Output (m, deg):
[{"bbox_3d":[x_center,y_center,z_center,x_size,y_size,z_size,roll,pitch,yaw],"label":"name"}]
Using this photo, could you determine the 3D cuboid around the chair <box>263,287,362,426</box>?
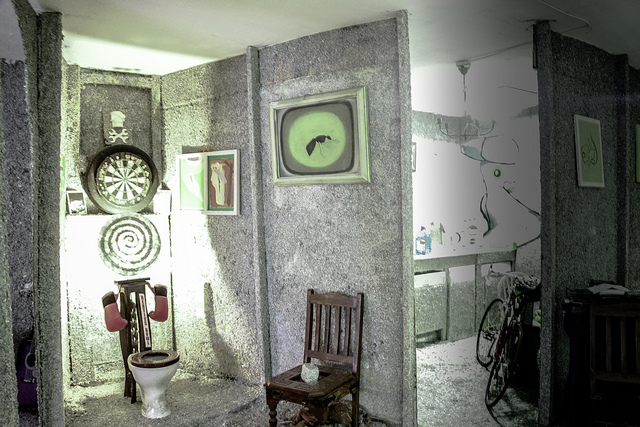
[{"bbox_3d":[-0.025,1.235,4.082,0.570,0.727,0.717,-2,2,35],"label":"chair"}]

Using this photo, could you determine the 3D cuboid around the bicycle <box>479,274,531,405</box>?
[{"bbox_3d":[1.907,1.243,5.087,0.515,1.078,1.315,-3,2,17],"label":"bicycle"}]
